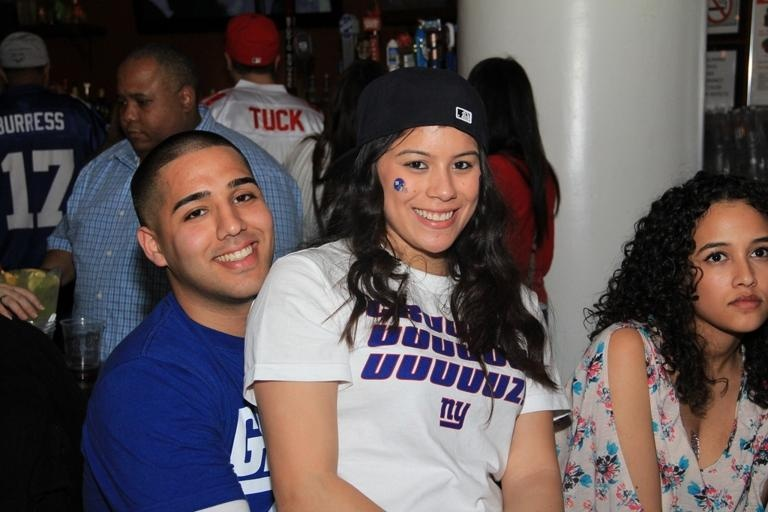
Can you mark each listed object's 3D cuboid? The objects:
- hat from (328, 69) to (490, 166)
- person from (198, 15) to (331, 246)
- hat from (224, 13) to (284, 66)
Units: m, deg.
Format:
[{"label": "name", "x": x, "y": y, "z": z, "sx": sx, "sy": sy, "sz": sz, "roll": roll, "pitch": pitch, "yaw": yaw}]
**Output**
[{"label": "hat", "x": 0.061, "y": -0.499, "z": 2.433, "sx": 0.493, "sy": 0.261, "sz": 0.389, "roll": -6, "pitch": 2, "yaw": 34}, {"label": "person", "x": -0.730, "y": -0.560, "z": 4.401, "sx": 0.627, "sy": 1.850, "sz": 0.539, "roll": -9, "pitch": -4, "yaw": -3}, {"label": "hat", "x": -0.850, "y": -1.452, "z": 4.567, "sx": 0.381, "sy": 0.188, "sz": 0.523, "roll": 5, "pitch": 41, "yaw": -8}]
